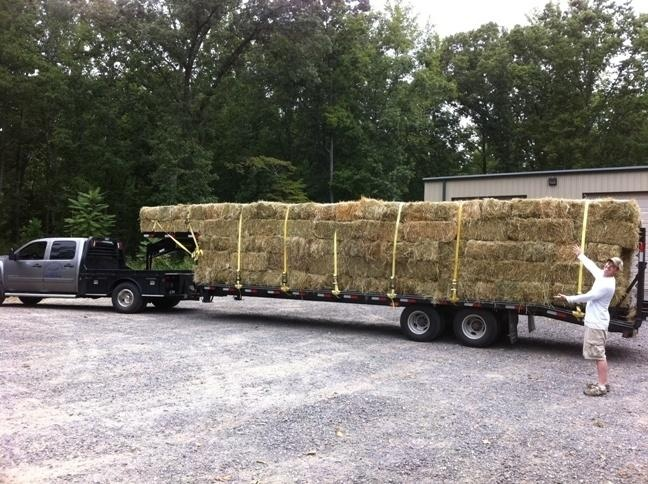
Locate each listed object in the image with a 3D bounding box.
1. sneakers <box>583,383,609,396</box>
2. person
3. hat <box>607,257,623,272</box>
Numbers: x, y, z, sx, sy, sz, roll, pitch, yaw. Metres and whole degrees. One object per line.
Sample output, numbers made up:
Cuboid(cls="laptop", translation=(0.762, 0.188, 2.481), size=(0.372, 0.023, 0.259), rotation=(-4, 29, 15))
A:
Cuboid(cls="sneakers", translation=(4.609, 2.501, 10.141), size=(0.274, 0.102, 0.285), rotation=(2, -3, 13))
Cuboid(cls="person", translation=(4.752, 1.362, 10.496), size=(0.786, 2.394, 1.176), rotation=(2, 7, 7))
Cuboid(cls="hat", translation=(5.180, 0.382, 10.674), size=(0.257, 0.134, 0.166), rotation=(36, -6, -25))
